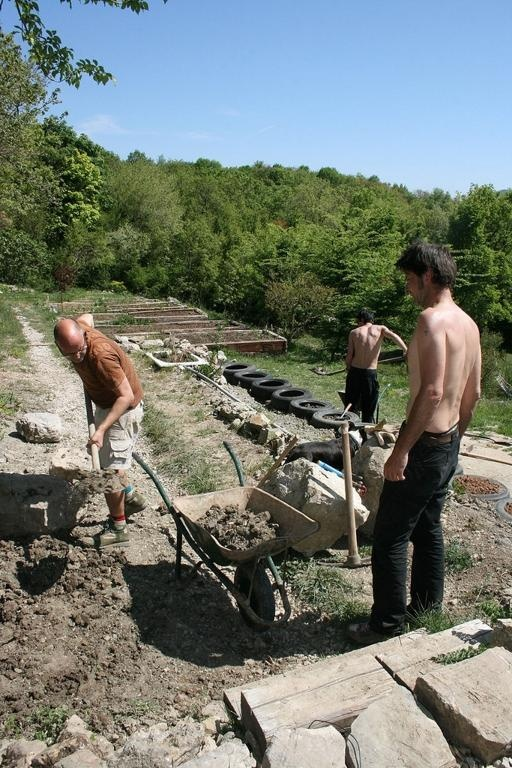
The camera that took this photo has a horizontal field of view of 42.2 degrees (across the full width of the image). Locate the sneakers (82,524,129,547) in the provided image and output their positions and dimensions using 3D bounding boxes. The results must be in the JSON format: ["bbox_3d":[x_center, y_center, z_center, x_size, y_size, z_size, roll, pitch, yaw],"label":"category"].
[{"bbox_3d":[-1.072,1.078,4.663,0.310,0.119,0.114,3,-2,-21],"label":"sneakers"}]

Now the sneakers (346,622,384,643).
[{"bbox_3d":[0.632,1.436,3.857,0.088,0.096,0.234,-10,13,-40],"label":"sneakers"}]

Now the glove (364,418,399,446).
[{"bbox_3d":[1.016,0.395,5.307,0.190,0.111,0.269,9,-7,14],"label":"glove"}]

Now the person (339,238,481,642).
[{"bbox_3d":[0.907,0.372,3.709,0.485,2.298,0.672,7,7,26],"label":"person"}]

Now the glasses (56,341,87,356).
[{"bbox_3d":[-1.151,-0.218,4.159,0.114,0.030,0.109,3,-25,3],"label":"glasses"}]

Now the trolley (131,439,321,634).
[{"bbox_3d":[-0.206,0.978,4.295,0.799,0.676,1.482,-3,20,-27],"label":"trolley"}]

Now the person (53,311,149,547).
[{"bbox_3d":[-1.085,0.352,4.603,0.539,1.570,0.977,3,6,-7],"label":"person"}]
